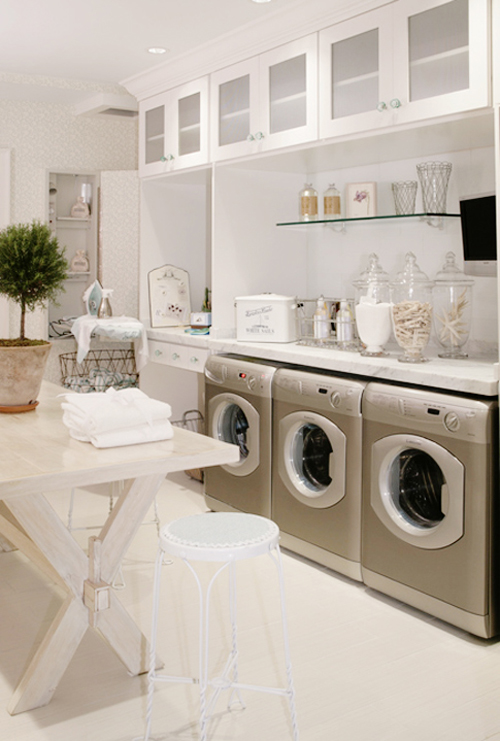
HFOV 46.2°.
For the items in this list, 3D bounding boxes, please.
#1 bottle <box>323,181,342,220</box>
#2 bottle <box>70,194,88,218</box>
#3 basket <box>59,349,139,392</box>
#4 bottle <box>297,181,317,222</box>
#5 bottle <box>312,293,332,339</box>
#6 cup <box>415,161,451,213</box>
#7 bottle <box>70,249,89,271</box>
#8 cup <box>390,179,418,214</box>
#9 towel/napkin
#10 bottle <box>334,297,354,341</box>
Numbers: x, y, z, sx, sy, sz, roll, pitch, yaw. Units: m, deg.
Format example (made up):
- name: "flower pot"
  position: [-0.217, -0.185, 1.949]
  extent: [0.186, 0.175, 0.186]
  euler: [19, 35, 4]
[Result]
- name: "bottle"
  position: [0.439, -0.908, 3.140]
  extent: [0.098, 0.187, 0.271]
  euler: [0, 11, 8]
- name: "bottle"
  position: [-1.383, -1.317, 4.728]
  extent: [0.149, 0.170, 0.096]
  euler: [-3, 11, -6]
- name: "basket"
  position: [-1.203, -0.006, 4.599]
  extent: [0.576, 0.373, 0.512]
  euler: [1, 7, 14]
- name: "bottle"
  position: [0.311, -0.891, 3.128]
  extent: [0.078, 0.177, 0.131]
  euler: [-4, 11, -13]
- name: "bottle"
  position: [0.360, -0.265, 2.954]
  extent: [0.087, 0.220, 0.188]
  euler: [0, 11, 8]
- name: "cup"
  position: [0.769, -0.762, 2.464]
  extent: [0.128, 0.217, 0.282]
  euler: [1, 11, 16]
- name: "bottle"
  position: [-1.387, -0.889, 4.755]
  extent: [0.149, 0.180, 0.108]
  euler: [-6, 12, -23]
- name: "cup"
  position: [0.680, -0.764, 2.581]
  extent: [0.100, 0.156, 0.201]
  euler: [1, 11, 11]
- name: "towel/napkin"
  position: [-0.359, 0.103, 1.477]
  extent: [0.171, 0.064, 0.174]
  euler: [-6, 18, -32]
- name: "bottle"
  position: [0.461, -0.244, 2.860]
  extent: [0.086, 0.211, 0.231]
  euler: [0, 11, 10]
